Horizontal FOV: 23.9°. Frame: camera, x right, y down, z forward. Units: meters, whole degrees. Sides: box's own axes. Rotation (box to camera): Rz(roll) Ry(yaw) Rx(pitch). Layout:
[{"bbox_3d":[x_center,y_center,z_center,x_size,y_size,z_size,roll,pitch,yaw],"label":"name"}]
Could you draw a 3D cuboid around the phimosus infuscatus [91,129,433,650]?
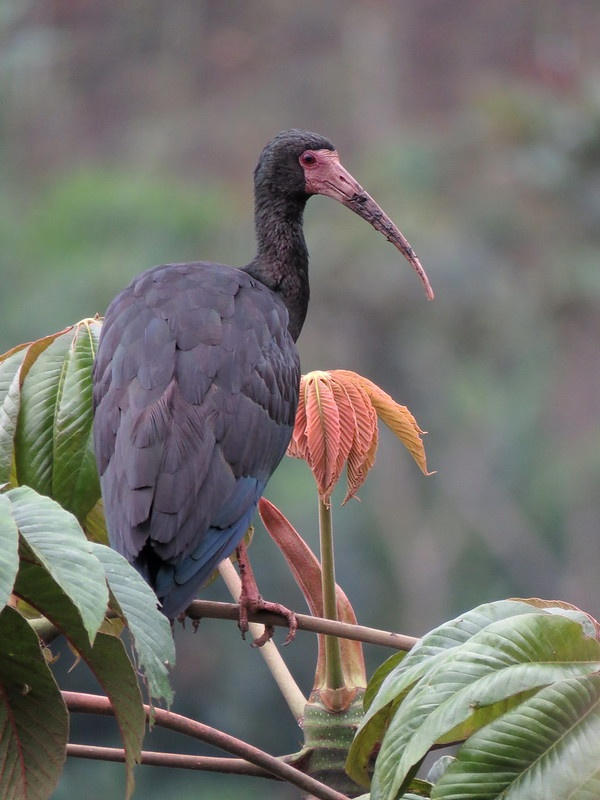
[{"bbox_3d":[-0.178,-0.116,3.085,0.498,1.274,0.793,4,-12,2],"label":"phimosus infuscatus"}]
